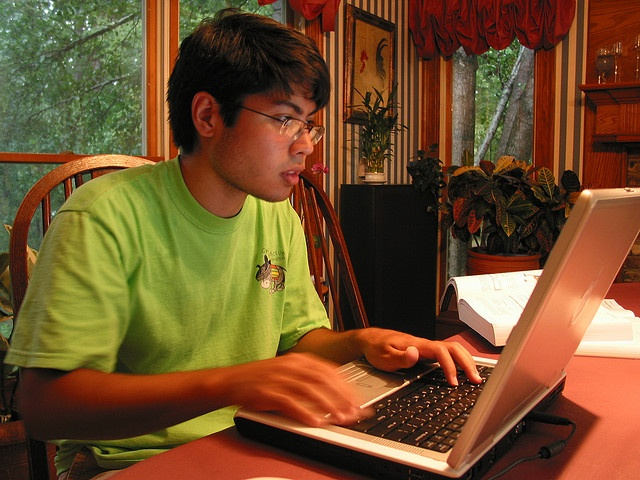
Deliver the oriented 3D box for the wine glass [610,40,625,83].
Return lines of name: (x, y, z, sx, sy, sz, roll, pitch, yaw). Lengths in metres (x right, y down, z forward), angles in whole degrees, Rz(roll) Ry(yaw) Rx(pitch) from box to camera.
wine glass: (1.883, -1.137, 3.265, 0.090, 0.249, 0.098, 11, 13, 24)

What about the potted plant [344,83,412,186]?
potted plant: (0.378, -0.660, 3.377, 0.437, 0.686, 0.322, -1, -5, 18)

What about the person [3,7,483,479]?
person: (-0.171, -0.042, 1.622, 0.913, 1.629, 1.012, -6, -9, 25)

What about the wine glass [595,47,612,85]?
wine glass: (1.811, -1.124, 3.291, 0.109, 0.219, 0.196, 12, 13, 27)

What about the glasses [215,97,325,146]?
glasses: (-0.089, -0.250, 1.102, 0.105, 0.033, 0.105, 27, 5, 18)

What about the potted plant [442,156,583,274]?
potted plant: (1.291, -0.017, 3.368, 0.824, 0.933, 0.668, 1, 1, 37)
